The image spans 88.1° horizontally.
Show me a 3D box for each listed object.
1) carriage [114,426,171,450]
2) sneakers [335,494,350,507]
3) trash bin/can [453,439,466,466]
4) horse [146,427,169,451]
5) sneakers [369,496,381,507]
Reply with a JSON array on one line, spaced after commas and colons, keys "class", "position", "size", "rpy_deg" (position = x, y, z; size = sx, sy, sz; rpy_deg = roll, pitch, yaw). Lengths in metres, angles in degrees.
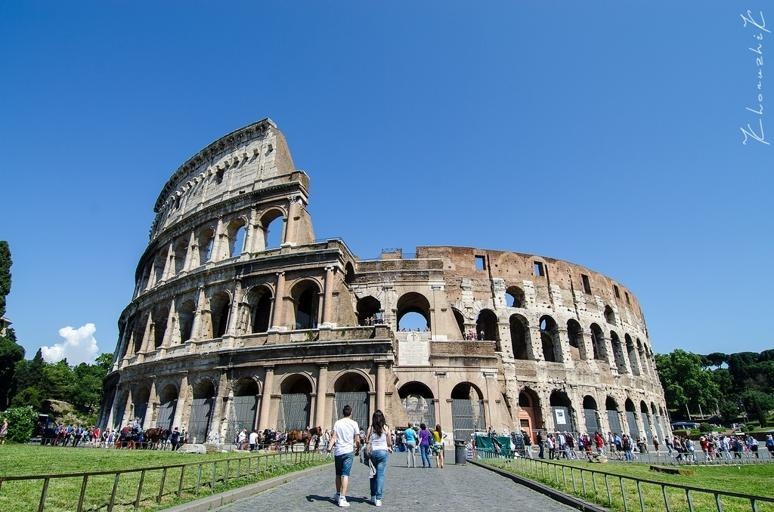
[{"class": "carriage", "position": [-17.660, 13.290, 28.962], "size": [4.659, 2.015, 0.890], "rpy_deg": [-4, -36, 8]}, {"class": "sneakers", "position": [-1.311, 7.183, 11.702], "size": [0.211, 0.231, 0.560], "rpy_deg": [-4, -20, 13]}, {"class": "trash bin/can", "position": [3.811, 10.237, 20.727], "size": [0.523, 1.060, 0.309], "rpy_deg": [1, -26, -7]}, {"class": "horse", "position": [-16.546, 13.081, 28.579], "size": [1.737, 1.260, 0.513], "rpy_deg": [-7, -26, 10]}, {"class": "sneakers", "position": [-0.343, 7.420, 11.995], "size": [0.200, 0.215, 0.565], "rpy_deg": [2, -37, 1]}]
